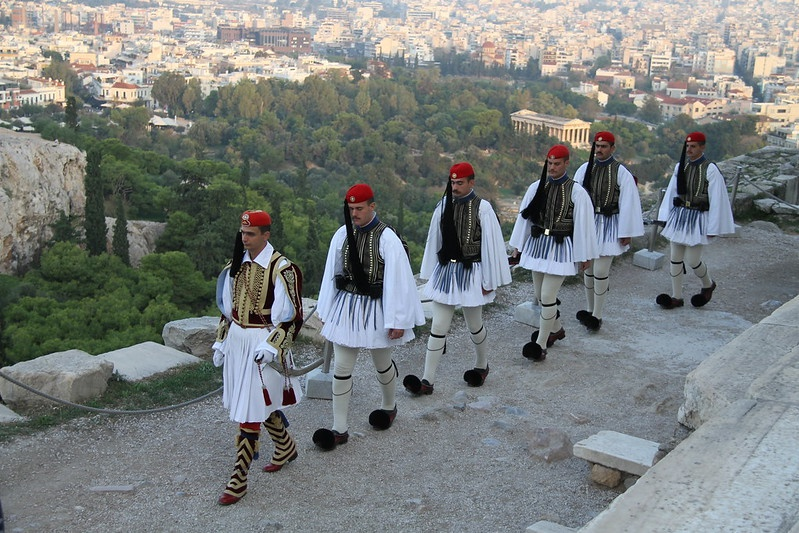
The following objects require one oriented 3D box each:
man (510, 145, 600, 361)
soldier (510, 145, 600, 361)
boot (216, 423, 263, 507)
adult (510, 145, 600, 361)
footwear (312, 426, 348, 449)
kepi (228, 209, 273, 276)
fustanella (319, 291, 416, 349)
[{"bbox_3d":[1.856,-0.166,8.783,0.940,2.633,0.943,-13,17,-39],"label":"man"},{"bbox_3d":[1.856,-0.165,8.780,0.935,2.633,0.964,-14,18,-41],"label":"soldier"},{"bbox_3d":[-1.435,1.759,6.399,0.222,0.651,0.496,5,15,30],"label":"boot"},{"bbox_3d":[1.858,-0.165,8.778,0.948,2.633,0.965,-15,18,-42],"label":"adult"},{"bbox_3d":[-0.697,1.710,7.086,0.333,0.175,0.139,-5,16,-32],"label":"footwear"},{"bbox_3d":[-1.374,-0.189,6.623,0.322,0.632,0.270,4,16,-5],"label":"kepi"},{"bbox_3d":[-0.339,0.496,7.036,0.655,0.357,0.670,2,7,8],"label":"fustanella"}]
